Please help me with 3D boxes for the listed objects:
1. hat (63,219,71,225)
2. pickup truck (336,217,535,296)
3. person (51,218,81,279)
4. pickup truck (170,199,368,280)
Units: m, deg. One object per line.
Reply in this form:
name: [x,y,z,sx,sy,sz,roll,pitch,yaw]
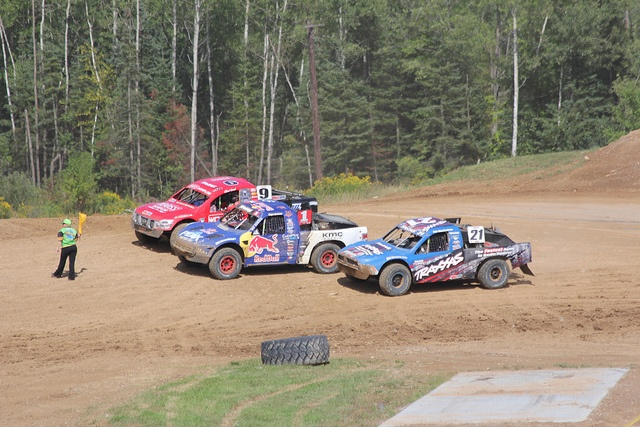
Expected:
hat: [-10.953,0.380,30.949,0.292,0.284,0.229,22,16,36]
pickup truck: [4.661,1.942,30.727,6.955,2.621,3.685,-2,5,-15]
person: [-11.000,1.513,31.018,1.056,2.521,1.507,-3,6,-20]
pickup truck: [-2.312,1.238,31.766,6.971,2.581,3.696,1,5,-21]
